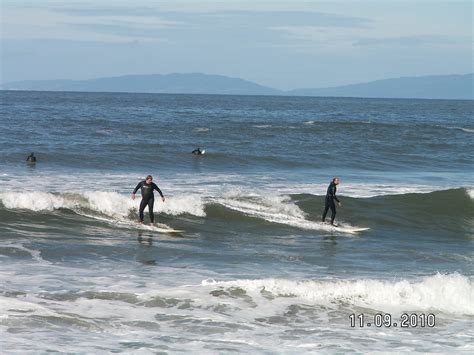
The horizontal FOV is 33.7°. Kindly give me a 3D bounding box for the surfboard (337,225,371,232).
[{"bbox_3d":[4.526,2.010,30.489,1.829,0.131,0.312,1,18,-29],"label":"surfboard"}]

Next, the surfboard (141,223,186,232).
[{"bbox_3d":[-2.777,1.876,29.083,2.042,0.088,0.223,5,11,10],"label":"surfboard"}]
